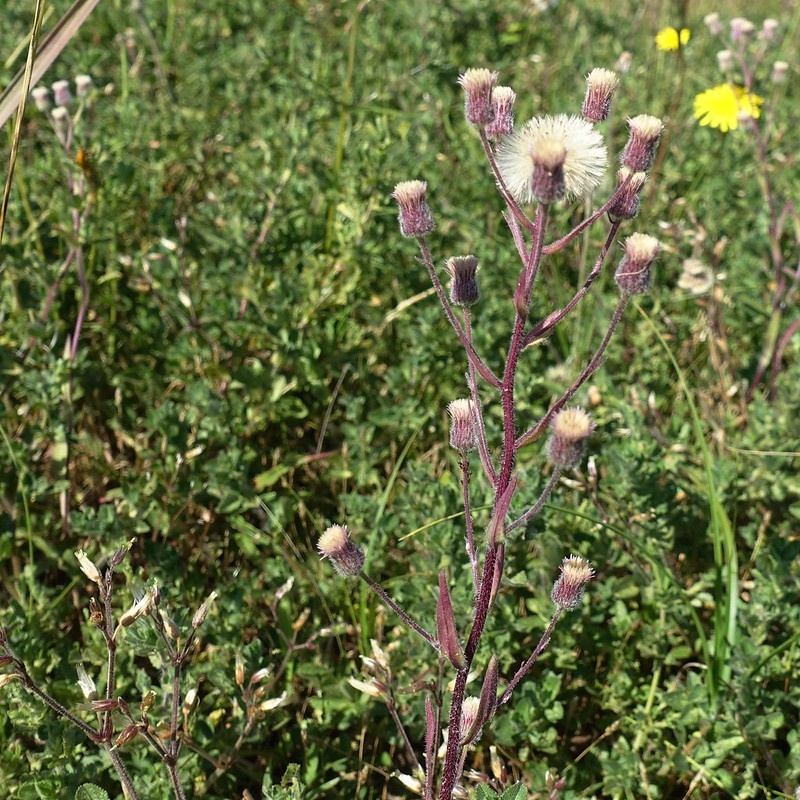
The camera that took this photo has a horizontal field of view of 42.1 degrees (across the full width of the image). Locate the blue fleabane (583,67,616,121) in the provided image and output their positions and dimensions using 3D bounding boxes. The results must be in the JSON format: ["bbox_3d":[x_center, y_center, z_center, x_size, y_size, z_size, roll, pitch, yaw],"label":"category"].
[{"bbox_3d":[0.512,-0.784,2.681,0.077,0.154,0.148,12,9,7],"label":"blue fleabane"}]

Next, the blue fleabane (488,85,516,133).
[{"bbox_3d":[0.256,-0.730,2.662,0.053,0.147,0.070,1,-9,19],"label":"blue fleabane"}]

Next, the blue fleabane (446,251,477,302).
[{"bbox_3d":[0.167,-0.314,2.663,0.091,0.138,0.089,-17,16,-34],"label":"blue fleabane"}]
